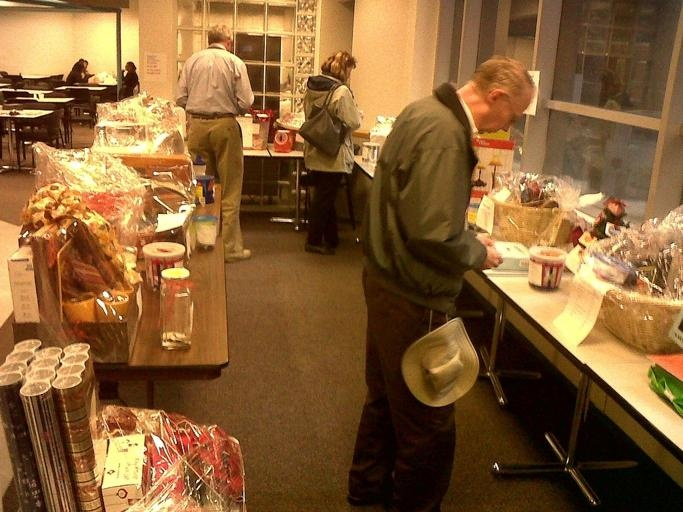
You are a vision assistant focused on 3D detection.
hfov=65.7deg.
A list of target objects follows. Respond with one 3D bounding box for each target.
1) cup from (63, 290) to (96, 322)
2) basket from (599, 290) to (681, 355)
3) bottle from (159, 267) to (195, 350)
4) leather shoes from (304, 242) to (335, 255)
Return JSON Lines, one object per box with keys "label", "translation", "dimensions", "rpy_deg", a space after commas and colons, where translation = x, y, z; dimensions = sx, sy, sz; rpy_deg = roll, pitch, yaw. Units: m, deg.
{"label": "cup", "translation": [-0.718, 0.133, 1.444], "dimensions": [0.069, 0.057, 0.073], "rpy_deg": [2, 10, 0]}
{"label": "basket", "translation": [1.019, 0.232, 1.826], "dimensions": [0.220, 0.096, 0.178], "rpy_deg": [8, 20, -14]}
{"label": "bottle", "translation": [-0.519, 0.153, 1.638], "dimensions": [0.099, 0.215, 0.183], "rpy_deg": [-5, 17, -18]}
{"label": "leather shoes", "translation": [-0.233, -0.087, 5.328], "dimensions": [0.303, 0.143, 0.118], "rpy_deg": [1, 17, -1]}
